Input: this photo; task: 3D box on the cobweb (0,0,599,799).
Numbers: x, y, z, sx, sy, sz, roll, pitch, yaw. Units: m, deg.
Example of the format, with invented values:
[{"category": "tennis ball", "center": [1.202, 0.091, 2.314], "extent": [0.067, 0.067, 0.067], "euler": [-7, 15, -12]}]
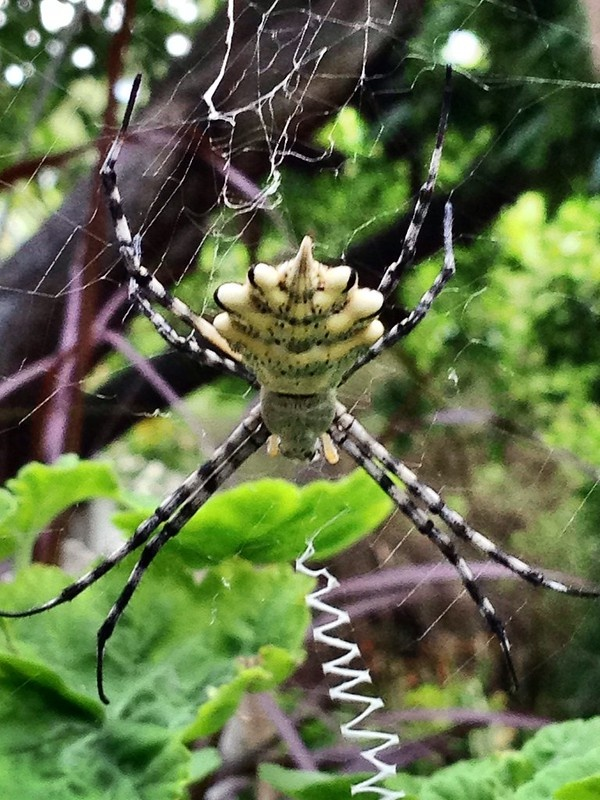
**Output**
[{"category": "cobweb", "center": [-0.044, -0.033, 2.635], "extent": [2.471, 2.110, 0.513], "euler": [2, -13, -7]}]
